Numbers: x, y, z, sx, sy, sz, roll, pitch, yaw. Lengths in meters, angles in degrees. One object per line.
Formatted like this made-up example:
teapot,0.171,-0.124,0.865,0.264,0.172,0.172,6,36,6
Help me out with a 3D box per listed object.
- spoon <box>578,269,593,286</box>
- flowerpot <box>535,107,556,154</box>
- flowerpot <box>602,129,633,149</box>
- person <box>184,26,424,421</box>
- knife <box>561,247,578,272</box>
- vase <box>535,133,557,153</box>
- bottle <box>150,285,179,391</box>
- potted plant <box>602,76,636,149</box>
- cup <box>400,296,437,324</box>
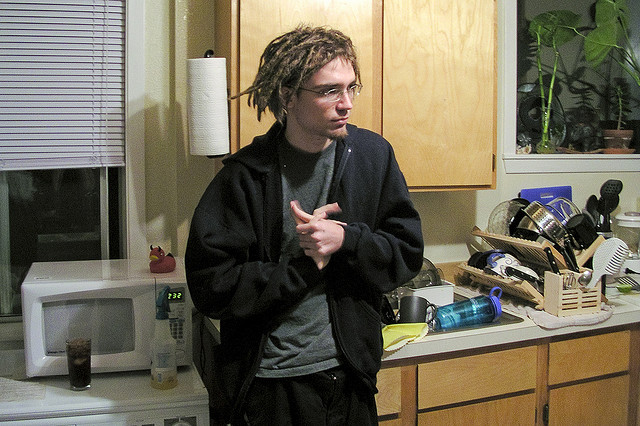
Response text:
spoon,1.249,0.308,2.230,0.081,0.069,0.021,-6,7,-29
flowerpot,1.438,-0.519,3.010,0.152,0.291,0.068,-6,7,-26
flowerpot,1.972,-0.482,3.156,0.153,0.109,0.149,-1,6,-13
person,-0.063,0.060,1.733,0.848,1.429,0.302,-4,6,-10
knife,1.206,0.225,2.296,0.034,0.131,0.026,-26,-21,31
vase,1.423,-0.450,3.039,0.122,0.132,0.129,-4,14,4
bottle,-0.636,0.507,1.929,0.132,0.396,0.106,-7,7,-36
potted plant,2.023,-0.669,3.183,0.303,0.480,0.134,-8,8,-41
cup,0.427,0.414,2.038,0.103,0.120,0.164,15,-18,5
